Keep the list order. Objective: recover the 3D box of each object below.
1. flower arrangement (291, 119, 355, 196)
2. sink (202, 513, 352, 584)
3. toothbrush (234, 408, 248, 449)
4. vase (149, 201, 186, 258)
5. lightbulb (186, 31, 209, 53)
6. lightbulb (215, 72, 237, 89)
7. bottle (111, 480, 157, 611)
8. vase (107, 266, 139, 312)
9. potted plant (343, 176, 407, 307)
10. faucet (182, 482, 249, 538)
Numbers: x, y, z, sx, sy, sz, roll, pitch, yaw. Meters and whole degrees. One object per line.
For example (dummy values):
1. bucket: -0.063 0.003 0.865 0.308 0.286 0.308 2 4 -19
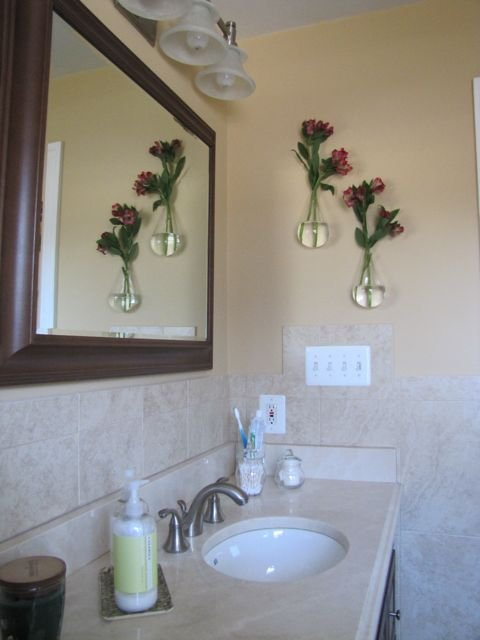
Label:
1. flower arrangement: 0.249 -0.509 1.574 0.196 0.247 0.084 1 -3 13
2. sink: 0.052 0.488 1.087 0.248 0.301 0.086 7 38 -10
3. toothbrush: 0.001 0.298 1.393 0.031 0.124 0.006 -15 0 -38
4. vase: -0.178 -0.215 1.252 0.061 0.142 0.068 -3 -14 1
5. lightbulb: -0.082 -0.545 1.025 0.040 0.035 0.043 -2 2 -10
6. lightbulb: -0.034 -0.558 1.184 0.033 0.030 0.038 0 -2 4
7. bottle: -0.147 0.318 0.718 0.059 0.173 0.045 2 -3 -13
8. vase: -0.239 -0.062 1.057 0.068 0.102 0.070 2 -7 -22
9. potted plant: 0.387 -0.229 1.530 0.170 0.382 0.160 1 3 4
10. faucet: -0.053 0.380 0.999 0.074 0.116 0.149 4 -4 -44
